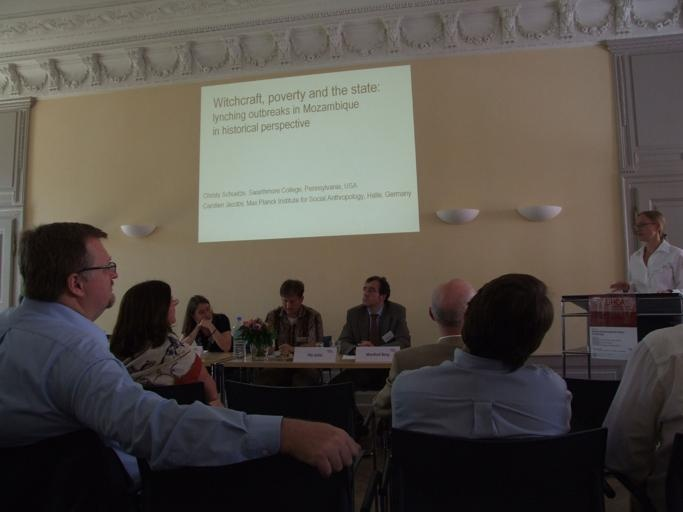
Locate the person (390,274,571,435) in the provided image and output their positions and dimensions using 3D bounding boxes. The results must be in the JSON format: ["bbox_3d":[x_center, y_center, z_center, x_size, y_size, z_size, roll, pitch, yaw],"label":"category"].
[{"bbox_3d":[0.749,0.505,3.304,0.829,0.822,0.454,4,6,6],"label":"person"}]

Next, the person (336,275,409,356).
[{"bbox_3d":[0.284,0.649,5.491,0.616,0.938,0.463,-1,-15,10],"label":"person"}]

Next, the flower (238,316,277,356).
[{"bbox_3d":[-0.652,0.596,4.904,0.265,0.287,0.261,4,-6,-42],"label":"flower"}]

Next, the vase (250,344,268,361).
[{"bbox_3d":[-0.632,0.732,4.975,0.115,0.143,0.128,0,-7,-1],"label":"vase"}]

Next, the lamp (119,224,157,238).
[{"bbox_3d":[-2.111,-0.268,6.788,0.191,0.083,0.201,-3,-6,13],"label":"lamp"}]

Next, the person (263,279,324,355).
[{"bbox_3d":[-0.426,0.563,5.654,0.496,0.764,0.625,-3,13,-9],"label":"person"}]

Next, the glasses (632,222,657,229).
[{"bbox_3d":[2.577,-0.265,5.523,0.061,0.059,0.171,-1,-1,-39],"label":"glasses"}]

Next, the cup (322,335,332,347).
[{"bbox_3d":[-0.110,0.696,5.354,0.085,0.096,0.090,0,-9,0],"label":"cup"}]
